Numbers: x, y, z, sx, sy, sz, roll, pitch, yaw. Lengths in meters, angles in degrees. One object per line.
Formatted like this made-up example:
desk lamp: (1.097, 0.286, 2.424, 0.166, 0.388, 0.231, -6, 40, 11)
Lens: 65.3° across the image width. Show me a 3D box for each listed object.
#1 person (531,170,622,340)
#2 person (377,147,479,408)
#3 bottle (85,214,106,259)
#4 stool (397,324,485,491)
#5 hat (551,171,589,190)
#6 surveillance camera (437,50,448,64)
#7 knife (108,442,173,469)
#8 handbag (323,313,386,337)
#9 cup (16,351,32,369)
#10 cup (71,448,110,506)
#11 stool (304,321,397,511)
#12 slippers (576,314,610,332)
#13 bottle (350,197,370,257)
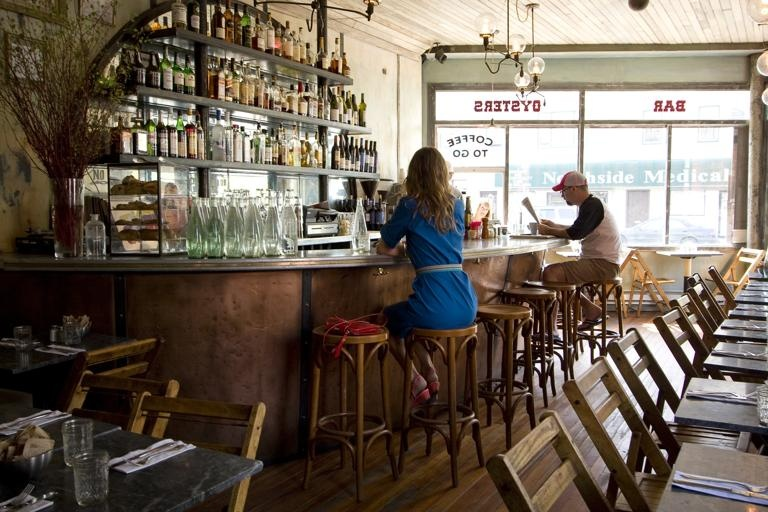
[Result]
person: (2.231, -0.072, 6.892, 0.998, 1.732, 0.776, 0, -1, 19)
person: (0.298, -0.089, 4.100, 0.683, 1.305, 0.409, 0, 8, -2)
bottle: (-2.011, -0.146, 4.180, 0.148, 0.282, 0.308, -3, 9, -26)
stool: (0.394, 0.983, 4.233, 0.668, 1.012, 0.681, 2, -2, -23)
hat: (2.139, -0.870, 6.895, 0.329, 0.193, 0.215, 5, 11, 25)
surveillance camera: (0.869, -3.050, 9.228, 0.146, 0.240, 0.253, 8, 24, 23)
knife: (-1.011, 0.813, 2.485, 0.071, 0.023, 0.273, 12, 15, 25)
handbag: (-0.204, 0.467, 4.065, 0.397, 0.121, 0.651, 0, 8, -4)
cup: (-2.042, 0.583, 3.412, 0.087, 0.138, 0.085, 1, -1, 0)
cup: (-1.093, 0.834, 2.241, 0.114, 0.180, 0.062, -1, 8, -15)
stool: (-0.208, 0.942, 4.078, 0.632, 1.065, 0.800, 1, 8, 1)
slippers: (2.395, 0.736, 6.858, 0.469, 0.123, 0.196, -22, 3, -30)
bottle: (-0.199, -0.264, 4.865, 0.159, 0.418, 0.164, -2, 0, 0)
